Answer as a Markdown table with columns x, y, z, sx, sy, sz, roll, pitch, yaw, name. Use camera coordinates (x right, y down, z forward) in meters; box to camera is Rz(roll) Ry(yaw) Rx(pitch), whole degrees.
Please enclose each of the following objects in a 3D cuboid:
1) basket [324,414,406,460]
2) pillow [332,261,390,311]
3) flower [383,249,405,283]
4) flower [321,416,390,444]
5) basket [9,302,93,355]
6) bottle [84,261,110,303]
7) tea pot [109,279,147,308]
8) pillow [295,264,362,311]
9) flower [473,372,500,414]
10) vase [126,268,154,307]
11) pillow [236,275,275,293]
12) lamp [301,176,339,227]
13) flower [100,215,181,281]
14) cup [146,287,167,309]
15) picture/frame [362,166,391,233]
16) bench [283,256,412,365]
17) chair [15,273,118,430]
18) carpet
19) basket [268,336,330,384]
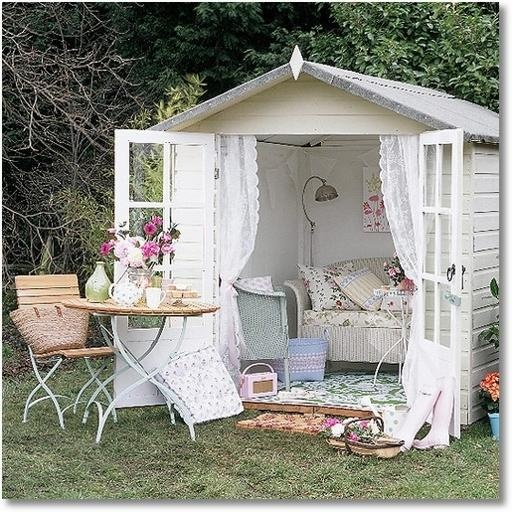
| x | y | z | sx | sy | sz | roll | pitch | yaw | name |
| --- | --- | --- | --- | --- | --- | --- | --- | --- | --- |
| 0.734 | 1.242 | 4.303 | 0.276 | 0.192 | 0.420 | 3 | -6 | -44 | basket |
| 1.185 | 0.398 | 6.978 | 0.428 | 0.108 | 0.447 | 4 | 37 | -40 | pillow |
| 1.364 | 0.150 | 6.250 | 0.214 | 0.125 | 0.207 | -17 | 9 | 33 | flower |
| 0.681 | 1.205 | 4.422 | 0.261 | 0.112 | 0.263 | -1 | -4 | 5 | flower |
| -1.579 | 0.578 | 5.091 | 0.448 | 0.152 | 0.457 | -3 | 33 | -42 | basket |
| -1.191 | 0.194 | 4.842 | 0.179 | 0.295 | 0.240 | 0 | 4 | -16 | bottle |
| -0.926 | 0.277 | 4.652 | 0.239 | 0.181 | 0.188 | 0 | 1 | 0 | tea pot |
| 0.759 | 0.355 | 7.000 | 0.527 | 0.528 | 0.159 | -5 | -37 | -29 | pillow |
| 1.781 | 1.046 | 4.869 | 0.283 | 0.287 | 0.262 | 2 | -3 | -39 | flower |
| -0.858 | 0.247 | 4.923 | 0.237 | 0.311 | 0.188 | 0 | -10 | 9 | vase |
| 0.014 | 0.210 | 6.126 | 0.357 | 0.269 | 0.125 | -2 | -17 | -26 | pillow |
| 0.790 | -0.693 | 7.535 | 0.371 | 0.666 | 0.290 | 6 | 10 | 33 | lamp |
| -0.873 | -0.102 | 4.998 | 0.506 | 0.624 | 0.427 | 8 | 12 | 32 | flower |
| -0.705 | 0.307 | 4.634 | 0.165 | 0.158 | 0.108 | 1 | -2 | -5 | cup |
| 1.457 | -0.680 | 7.701 | 0.333 | 0.802 | 0.138 | 1 | 4 | 7 | picture/frame |
| 1.145 | 0.655 | 6.990 | 1.482 | 1.249 | 0.865 | -2 | -2 | 10 | bench |
| -1.473 | 0.753 | 5.043 | 0.890 | 1.126 | 0.969 | 2 | 0 | -27 | chair |
| 0.810 | 1.231 | 5.943 | 1.276 | 0.141 | 1.576 | 3 | 4 | 27 | carpet |
| 0.456 | 1.015 | 6.309 | 0.457 | 0.440 | 0.460 | 1 | -2 | -10 | basket |
